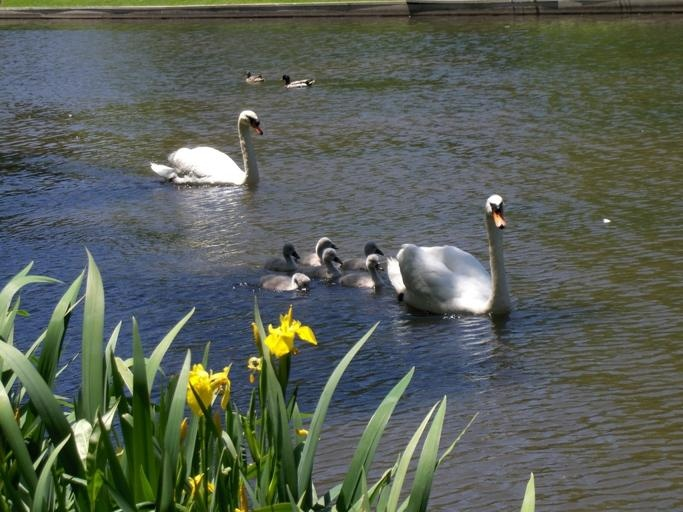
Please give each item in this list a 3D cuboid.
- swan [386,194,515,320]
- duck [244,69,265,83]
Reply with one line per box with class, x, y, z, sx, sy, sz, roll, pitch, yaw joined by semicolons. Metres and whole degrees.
swan;1.255;-0.014;10.685;1.632;1.445;0.843;6;25;20
duck;-2.273;-4.689;23.972;0.655;0.388;0.356;12;24;36
